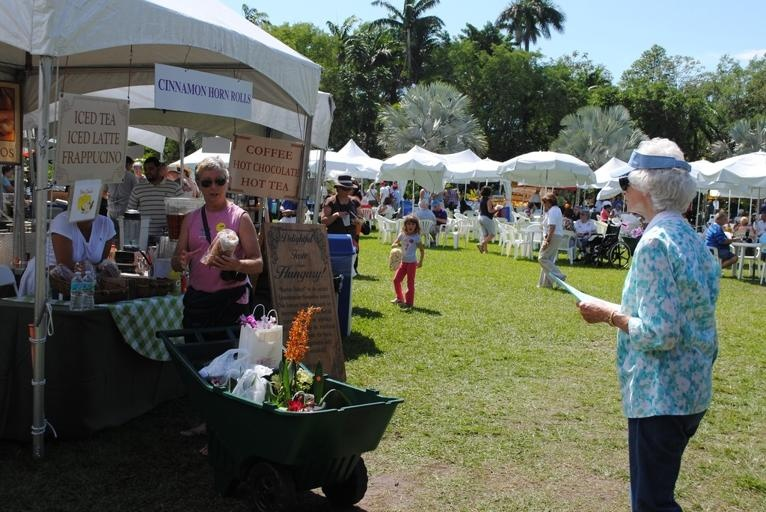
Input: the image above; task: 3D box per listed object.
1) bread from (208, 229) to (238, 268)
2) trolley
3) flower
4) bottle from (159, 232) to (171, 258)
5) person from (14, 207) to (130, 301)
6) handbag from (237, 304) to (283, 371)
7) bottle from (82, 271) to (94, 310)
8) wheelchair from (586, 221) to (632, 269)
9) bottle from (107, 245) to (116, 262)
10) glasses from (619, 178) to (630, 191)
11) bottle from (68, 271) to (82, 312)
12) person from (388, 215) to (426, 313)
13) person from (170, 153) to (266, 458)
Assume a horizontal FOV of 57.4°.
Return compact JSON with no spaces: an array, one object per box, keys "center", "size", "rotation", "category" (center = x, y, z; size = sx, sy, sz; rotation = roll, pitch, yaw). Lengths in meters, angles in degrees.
[{"center":[-1.312,-0.101,5.904],"size":[0.215,0.214,0.310],"rotation":[31,-37,1],"category":"bread"},{"center":[-0.743,1.092,5.517],"size":[1.395,1.457,1.614],"rotation":[-1,6,-42],"category":"trolley"},{"center":[-0.650,0.729,5.312],"size":[0.340,0.816,0.396],"rotation":[0,-1,8],"category":"flower"},{"center":[-2.261,-0.093,7.209],"size":[0.100,0.183,0.289],"rotation":[-1,12,-18],"category":"bottle"},{"center":[-2.959,-0.007,6.838],"size":[0.886,1.584,0.533],"rotation":[10,10,39],"category":"person"},{"center":[-0.977,0.665,5.662],"size":[0.331,0.636,0.276],"rotation":[3,-2,-7],"category":"handbag"},{"center":[-2.599,0.300,6.159],"size":[0.096,0.310,0.113],"rotation":[-2,11,-21],"category":"bottle"},{"center":[5.892,-0.225,17.980],"size":[1.168,1.383,0.938],"rotation":[4,-4,-7],"category":"wheelchair"},{"center":[-2.772,-0.027,7.133],"size":[0.055,0.077,0.190],"rotation":[9,-40,-20],"category":"bottle"},{"center":[1.612,-0.488,4.660],"size":[0.074,0.071,0.061],"rotation":[2,2,30],"category":"glasses"},{"center":[-2.690,0.303,6.134],"size":[0.105,0.305,0.174],"rotation":[-3,12,-24],"category":"bottle"},{"center":[0.403,0.085,11.255],"size":[0.443,1.526,0.438],"rotation":[7,16,15],"category":"person"},{"center":[-1.491,0.337,6.154],"size":[0.711,2.252,0.756],"rotation":[5,12,4],"category":"person"}]
